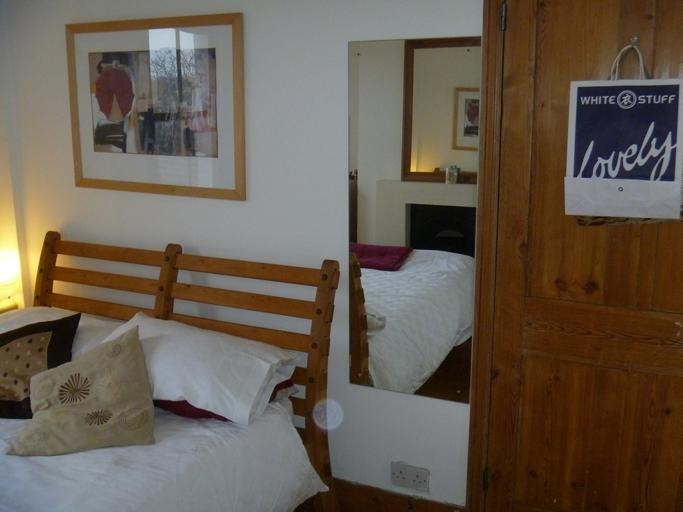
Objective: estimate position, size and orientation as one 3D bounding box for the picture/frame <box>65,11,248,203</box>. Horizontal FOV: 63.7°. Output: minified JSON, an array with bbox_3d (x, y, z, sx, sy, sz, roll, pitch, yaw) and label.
[{"bbox_3d":[-1.057,-0.820,2.958,0.923,0.902,0.033,1,4,13],"label":"picture/frame"}]

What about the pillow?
[{"bbox_3d":[-0.758,0.515,2.369,0.648,0.214,0.630,8,38,6],"label":"pillow"}]
